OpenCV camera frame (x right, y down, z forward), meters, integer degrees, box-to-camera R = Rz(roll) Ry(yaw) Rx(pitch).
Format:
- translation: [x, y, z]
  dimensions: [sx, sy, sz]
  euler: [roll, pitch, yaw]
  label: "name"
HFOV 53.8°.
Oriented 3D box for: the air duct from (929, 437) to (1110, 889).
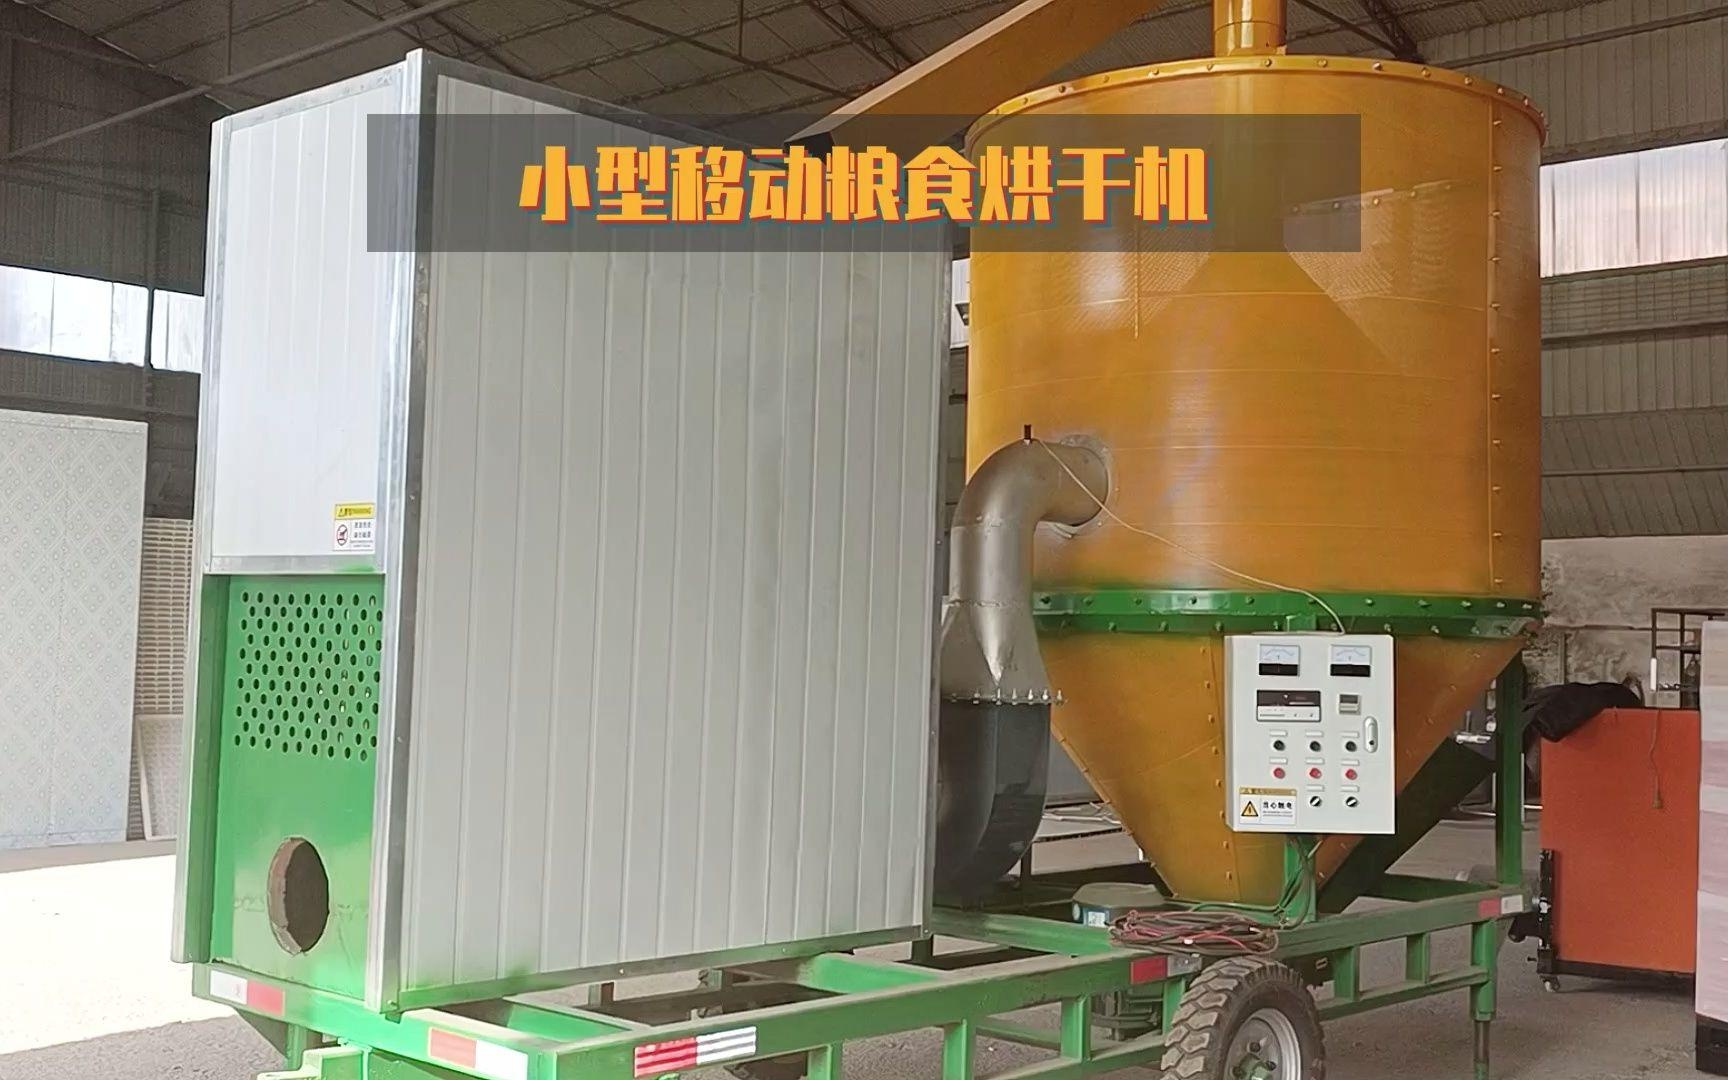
- translation: [0.888, 0.768, 10.484]
  dimensions: [0.997, 2.806, 0.919]
  euler: [5, -4, -24]
  label: "air duct"
